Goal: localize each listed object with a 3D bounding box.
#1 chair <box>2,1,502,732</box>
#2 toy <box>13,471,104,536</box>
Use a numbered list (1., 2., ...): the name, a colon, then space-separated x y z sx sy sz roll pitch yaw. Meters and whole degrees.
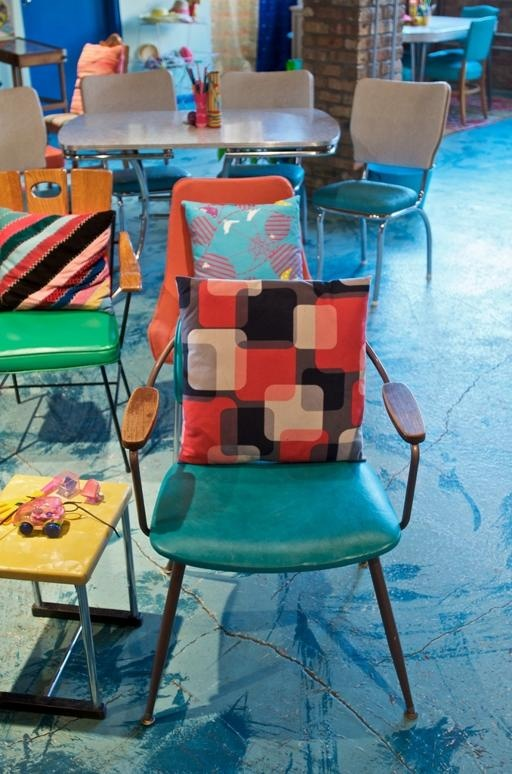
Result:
1. chair: 0.050 0.231 1.360 0.673 1.068 0.687 -1 39 0
2. toy: -0.383 0.227 1.216 0.093 0.038 0.125 2 20 -5
